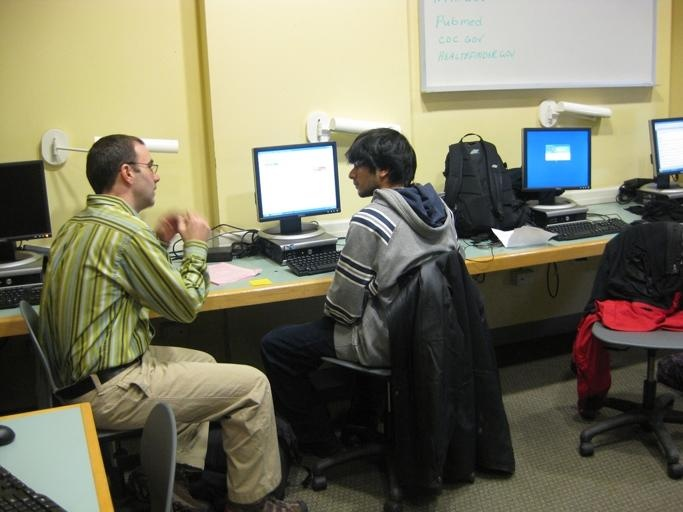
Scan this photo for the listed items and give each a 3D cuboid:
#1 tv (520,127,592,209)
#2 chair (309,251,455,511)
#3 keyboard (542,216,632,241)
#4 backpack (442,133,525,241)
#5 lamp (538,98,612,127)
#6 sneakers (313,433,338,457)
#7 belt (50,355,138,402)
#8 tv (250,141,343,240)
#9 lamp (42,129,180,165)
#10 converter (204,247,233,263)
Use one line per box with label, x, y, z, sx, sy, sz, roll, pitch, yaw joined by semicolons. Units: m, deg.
tv;1.252;-0.525;3.371;0.464;0.525;0.166;0;0;-17
chair;0.151;0.719;2.669;0.485;0.658;0.543;-4;12;-35
keyboard;1.338;-0.148;3.142;0.338;0.054;0.133;-11;32;-29
backpack;0.779;-0.368;3.206;0.547;0.674;0.367;-6;4;-19
lamp;1.520;-0.937;3.693;0.522;0.171;0.175;-12;14;-22
sneakers;-0.076;0.891;2.703;0.089;0.063;0.125;12;-24;-33
belt;-0.932;0.426;2.102;0.153;0.064;0.177;-27;12;45
tv;-0.262;-0.357;3.034;0.455;0.513;0.179;-5;5;-20
lamp;-1.149;-0.519;2.866;0.655;0.259;0.258;0;0;-10
converter;-0.630;-0.005;2.924;0.120;0.061;0.066;1;25;-6
